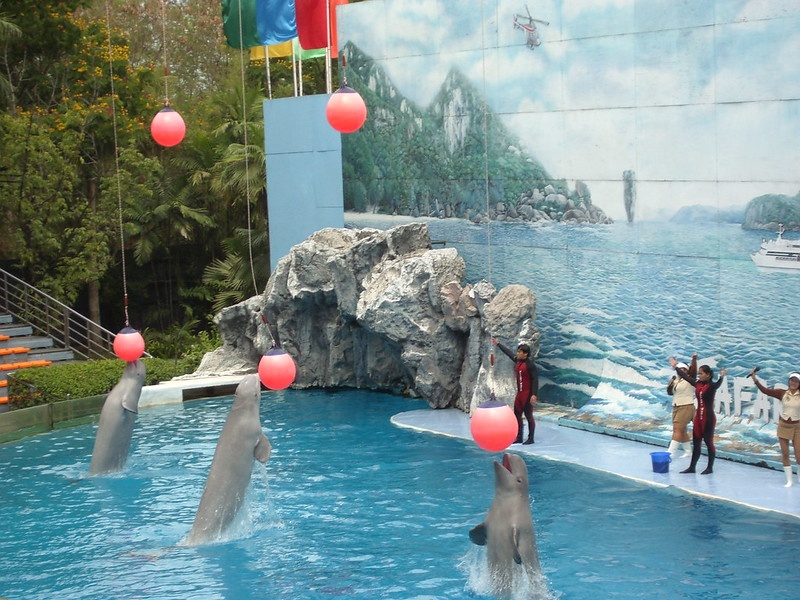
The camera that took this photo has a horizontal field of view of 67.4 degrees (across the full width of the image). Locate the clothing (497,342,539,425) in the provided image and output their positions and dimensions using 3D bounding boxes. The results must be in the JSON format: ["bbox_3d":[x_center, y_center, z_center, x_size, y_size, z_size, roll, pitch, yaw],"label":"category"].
[{"bbox_3d":[1.845,1.230,9.388,0.488,1.154,0.853,-3,6,-9],"label":"clothing"}]

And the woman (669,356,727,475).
[{"bbox_3d":[3.948,1.546,7.946,0.594,1.400,0.589,0,6,21],"label":"woman"}]

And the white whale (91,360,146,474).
[{"bbox_3d":[-4.067,1.702,8.706,0.764,1.890,0.750,6,20,-35],"label":"white whale"}]

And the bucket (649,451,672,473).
[{"bbox_3d":[3.458,2.147,7.964,0.256,0.199,0.241,-2,6,0],"label":"bucket"}]
